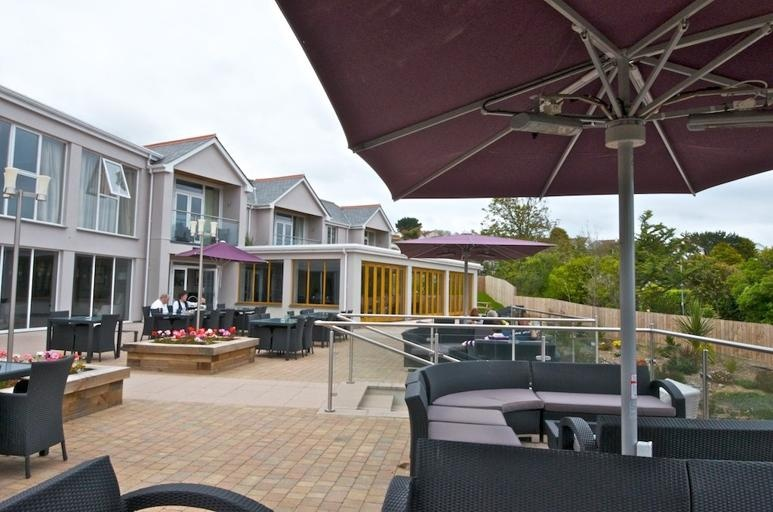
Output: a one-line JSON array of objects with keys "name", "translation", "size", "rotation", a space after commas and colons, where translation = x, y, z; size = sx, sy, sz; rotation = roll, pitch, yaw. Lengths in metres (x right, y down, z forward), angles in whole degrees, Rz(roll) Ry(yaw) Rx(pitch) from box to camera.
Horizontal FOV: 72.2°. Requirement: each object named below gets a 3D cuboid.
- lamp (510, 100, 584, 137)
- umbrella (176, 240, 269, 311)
[{"name": "lamp", "translation": [1.207, -1.070, 4.044], "size": [0.573, 0.237, 0.309], "rotation": [5, -7, -31]}, {"name": "umbrella", "translation": [-4.469, 0.506, 15.226], "size": [2.430, 1.290, 2.161], "rotation": [0, -1, -12]}]
